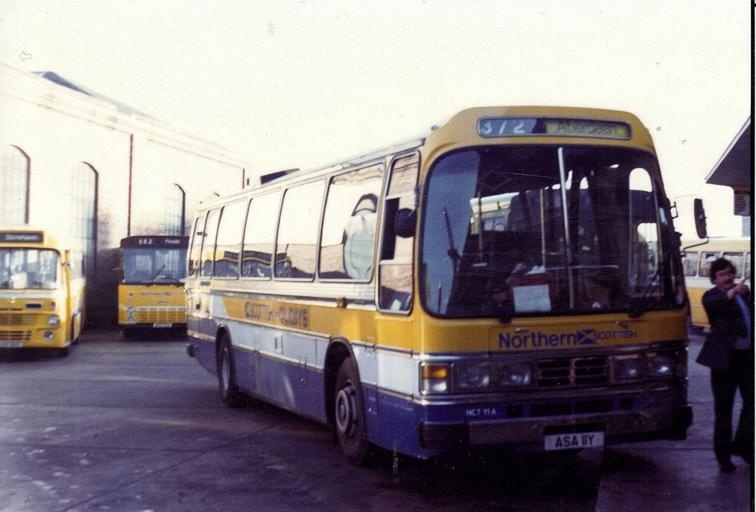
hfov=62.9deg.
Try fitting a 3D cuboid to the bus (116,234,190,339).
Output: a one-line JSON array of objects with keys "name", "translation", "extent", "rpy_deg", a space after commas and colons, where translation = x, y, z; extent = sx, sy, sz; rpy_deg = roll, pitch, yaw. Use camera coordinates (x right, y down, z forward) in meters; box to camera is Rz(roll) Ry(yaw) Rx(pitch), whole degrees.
[{"name": "bus", "translation": [-9.045, 0.929, 25.704], "extent": [3.081, 3.159, 5.759], "rpy_deg": [0, -2, -19]}]

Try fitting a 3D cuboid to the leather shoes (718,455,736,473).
[{"name": "leather shoes", "translation": [4.060, 2.432, 7.196], "extent": [0.119, 0.150, 0.327], "rpy_deg": [0, -8, -9]}]
